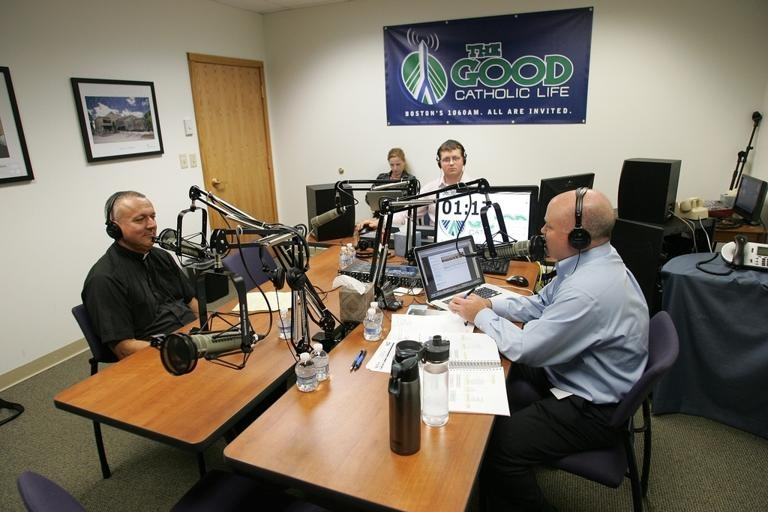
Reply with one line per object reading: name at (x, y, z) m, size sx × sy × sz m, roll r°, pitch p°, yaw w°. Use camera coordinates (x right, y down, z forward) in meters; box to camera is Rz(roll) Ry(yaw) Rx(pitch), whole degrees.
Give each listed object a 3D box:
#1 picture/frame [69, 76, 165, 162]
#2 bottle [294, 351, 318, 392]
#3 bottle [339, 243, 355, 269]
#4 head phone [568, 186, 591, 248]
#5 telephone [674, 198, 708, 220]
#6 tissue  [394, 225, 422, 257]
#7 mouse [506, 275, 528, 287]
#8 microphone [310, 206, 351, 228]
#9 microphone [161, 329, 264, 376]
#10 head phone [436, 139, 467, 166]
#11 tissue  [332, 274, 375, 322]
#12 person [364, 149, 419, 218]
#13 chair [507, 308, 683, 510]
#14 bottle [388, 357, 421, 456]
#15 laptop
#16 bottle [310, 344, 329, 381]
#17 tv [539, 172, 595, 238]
picture/frame at (-2.536, -1.294, 4.690) m, size 0.034 × 0.777 × 0.787 m, roll 4°, pitch 15°, yaw 33°
bottle at (-0.411, 0.621, 2.671) m, size 0.157 × 0.194 × 0.162 m, roll -3°, pitch 12°, yaw -13°
bottle at (-0.285, 0.011, 3.798) m, size 0.102 × 0.185 × 0.186 m, roll 1°, pitch 7°, yaw 10°
head phone at (1.148, -0.207, 2.928) m, size 0.125 × 0.360 × 0.357 m, roll 1°, pitch 3°, yaw 24°
telephone at (2.787, -0.432, 4.546) m, size 0.237 × 0.220 × 0.227 m, roll -12°, pitch 14°, yaw -40°
tissue  at (0.187, -0.112, 3.833) m, size 0.219 × 0.219 × 0.228 m, roll 0°, pitch 12°, yaw 8°
mouse at (0.947, 0.175, 3.505) m, size 0.116 × 0.041 × 0.072 m, roll 13°, pitch 19°, yaw 36°
microphone at (-0.398, -0.299, 3.851) m, size 0.234 × 0.073 × 0.237 m, roll -18°, pitch 0°, yaw -25°
microphone at (-0.802, 0.442, 2.457) m, size 0.180 × 0.208 × 0.498 m, roll -7°, pitch -4°, yaw 38°
head phone at (0.588, -0.952, 4.448) m, size 0.255 × 0.328 × 0.134 m, roll 0°, pitch 14°, yaw 4°
tissue  at (-0.187, 0.230, 3.152) m, size 0.194 × 0.303 × 0.236 m, roll -5°, pitch 21°, yaw -6°
person at (0.129, -0.825, 5.837) m, size 0.510 × 0.835 × 0.423 m, roll 0°, pitch 17°, yaw 5°
chair at (1.142, 0.877, 2.817) m, size 0.803 × 1.106 × 0.656 m, roll 12°, pitch 34°, yaw 24°
bottle at (0.091, 0.699, 2.322) m, size 0.156 × 0.463 × 0.120 m, roll -2°, pitch 17°, yaw 7°
laptop at (0.538, 0.108, 3.126) m, size 0.526 × 0.355 × 0.628 m, roll 8°, pitch 16°, yaw 42°
bottle at (-0.349, 0.586, 2.727) m, size 0.119 × 0.184 × 0.123 m, roll -3°, pitch -1°, yaw 0°
tv at (1.147, -0.316, 3.158) m, size 0.500 × 0.521 × 0.052 m, roll -4°, pitch 11°, yaw -17°
